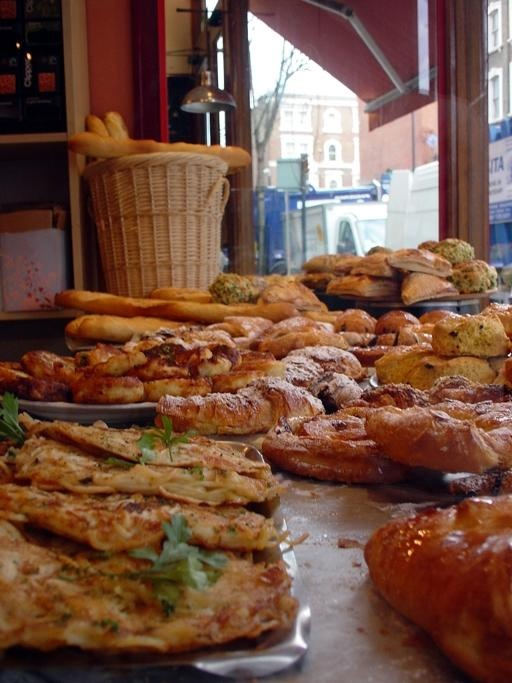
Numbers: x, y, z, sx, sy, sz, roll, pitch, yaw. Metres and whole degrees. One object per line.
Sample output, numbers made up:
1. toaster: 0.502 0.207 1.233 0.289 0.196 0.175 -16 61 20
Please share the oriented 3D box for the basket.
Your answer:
1. basket: -0.365 -0.335 2.014 0.480 0.350 0.485 -1 -1 -18
